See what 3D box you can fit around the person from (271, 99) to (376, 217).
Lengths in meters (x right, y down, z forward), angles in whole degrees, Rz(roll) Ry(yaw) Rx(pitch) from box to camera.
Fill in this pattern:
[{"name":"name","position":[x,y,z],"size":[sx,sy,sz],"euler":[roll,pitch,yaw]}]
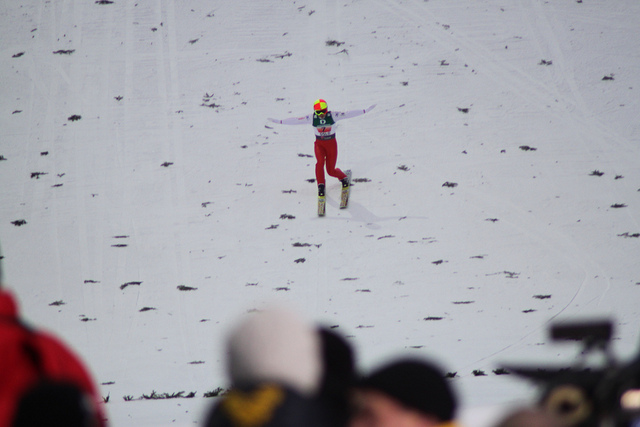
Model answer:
[{"name":"person","position":[0.046,-0.673,21.641],"size":[1.615,1.390,0.953],"euler":[-1,34,12]}]

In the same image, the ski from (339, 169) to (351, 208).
[{"name":"ski","position":[0.321,-0.334,21.497],"size":[0.118,0.138,0.541],"euler":[3,85,11]}]
